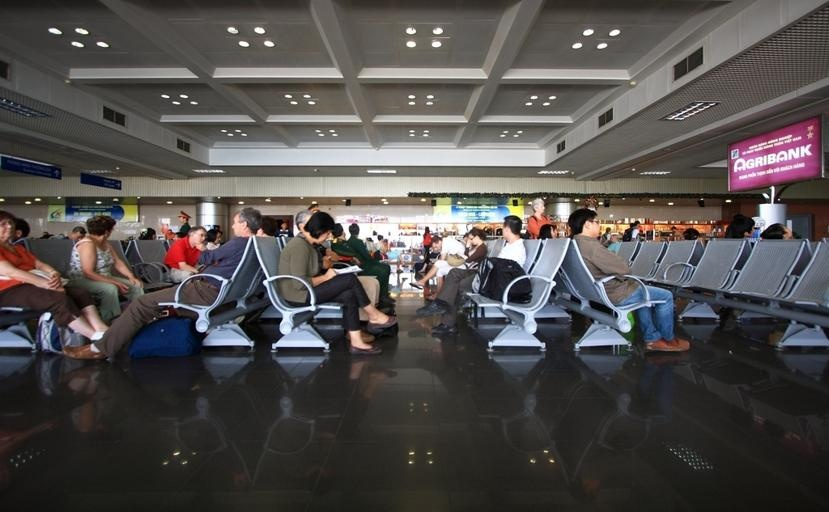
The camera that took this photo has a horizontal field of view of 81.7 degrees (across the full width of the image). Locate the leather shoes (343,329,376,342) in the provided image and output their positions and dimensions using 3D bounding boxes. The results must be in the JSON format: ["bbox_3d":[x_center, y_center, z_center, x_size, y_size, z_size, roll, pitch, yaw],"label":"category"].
[{"bbox_3d":[-0.674,0.960,5.729,0.482,0.173,0.158,-1,2,0],"label":"leather shoes"}]

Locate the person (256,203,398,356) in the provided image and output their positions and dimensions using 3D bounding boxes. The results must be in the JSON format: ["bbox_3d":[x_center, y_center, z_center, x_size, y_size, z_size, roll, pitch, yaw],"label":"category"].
[{"bbox_3d":[-0.983,0.261,5.553,1.208,1.540,0.686,1,10,8],"label":"person"}]

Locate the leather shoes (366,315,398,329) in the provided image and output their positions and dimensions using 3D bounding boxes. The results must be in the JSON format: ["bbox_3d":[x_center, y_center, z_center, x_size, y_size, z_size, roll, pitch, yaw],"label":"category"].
[{"bbox_3d":[-0.400,0.818,5.825,0.376,0.129,0.133,-8,4,5],"label":"leather shoes"}]

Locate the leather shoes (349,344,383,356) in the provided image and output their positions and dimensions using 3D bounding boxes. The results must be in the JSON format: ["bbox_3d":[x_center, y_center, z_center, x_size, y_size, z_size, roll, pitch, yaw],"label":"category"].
[{"bbox_3d":[-0.562,1.055,5.352,0.346,0.086,0.114,-2,-5,1],"label":"leather shoes"}]

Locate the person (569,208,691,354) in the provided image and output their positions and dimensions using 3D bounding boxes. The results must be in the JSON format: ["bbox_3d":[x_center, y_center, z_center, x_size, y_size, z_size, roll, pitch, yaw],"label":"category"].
[{"bbox_3d":[2.463,0.278,5.505,1.323,1.526,0.895,1,10,18],"label":"person"}]

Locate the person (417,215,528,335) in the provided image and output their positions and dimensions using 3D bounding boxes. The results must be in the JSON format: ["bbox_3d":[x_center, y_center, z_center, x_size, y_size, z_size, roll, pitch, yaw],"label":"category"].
[{"bbox_3d":[0.860,0.192,6.733,1.490,1.529,0.729,4,8,16],"label":"person"}]

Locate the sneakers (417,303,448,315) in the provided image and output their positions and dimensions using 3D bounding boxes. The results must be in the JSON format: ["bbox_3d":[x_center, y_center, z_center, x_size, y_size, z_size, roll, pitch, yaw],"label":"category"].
[{"bbox_3d":[0.267,0.775,6.938,0.524,0.205,0.170,1,-2,26],"label":"sneakers"}]

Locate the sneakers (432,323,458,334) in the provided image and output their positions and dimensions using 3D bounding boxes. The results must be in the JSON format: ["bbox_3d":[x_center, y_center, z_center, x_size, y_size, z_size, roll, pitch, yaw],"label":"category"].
[{"bbox_3d":[0.370,0.933,6.107,0.318,0.116,0.119,2,-5,-11],"label":"sneakers"}]

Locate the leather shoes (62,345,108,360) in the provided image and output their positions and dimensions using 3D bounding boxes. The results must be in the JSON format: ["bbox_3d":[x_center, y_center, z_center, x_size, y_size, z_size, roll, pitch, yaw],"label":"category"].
[{"bbox_3d":[-3.575,1.036,5.193,0.520,0.163,0.169,7,-6,0],"label":"leather shoes"}]
